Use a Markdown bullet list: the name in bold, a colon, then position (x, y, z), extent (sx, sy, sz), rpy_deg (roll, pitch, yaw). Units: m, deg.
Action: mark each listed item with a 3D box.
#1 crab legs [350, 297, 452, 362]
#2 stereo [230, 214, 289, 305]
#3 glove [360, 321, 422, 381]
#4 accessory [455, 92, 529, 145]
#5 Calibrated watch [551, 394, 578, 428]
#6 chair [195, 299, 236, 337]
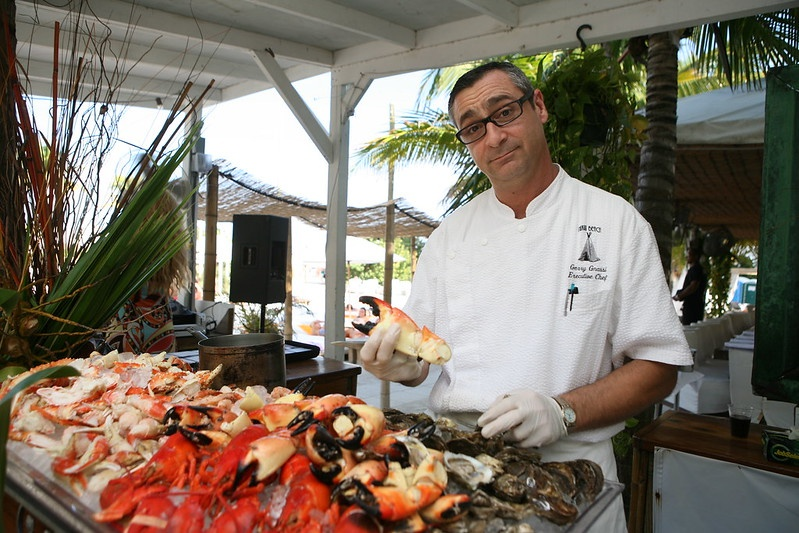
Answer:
- **crab legs**: position (0.027, 0.222, 2.119), extent (0.398, 0.206, 0.129), rpy_deg (35, 48, 20)
- **stereo**: position (-1.500, -0.062, 6.004), extent (0.616, 0.961, 0.506), rpy_deg (0, 1, -19)
- **glove**: position (-0.025, 0.346, 2.223), extent (0.132, 0.205, 0.288), rpy_deg (23, 8, 12)
- **accessory**: position (0.438, -0.693, 2.581), extent (0.358, 0.250, 0.200), rpy_deg (0, 0, 15)
- **Calibrated watch**: position (0.673, 0.596, 2.302), extent (0.078, 0.137, 0.131), rpy_deg (-14, 7, -11)
- **chair**: position (-2.384, 0.699, 7.234), extent (0.282, 0.383, 0.516), rpy_deg (0, 1, -42)
